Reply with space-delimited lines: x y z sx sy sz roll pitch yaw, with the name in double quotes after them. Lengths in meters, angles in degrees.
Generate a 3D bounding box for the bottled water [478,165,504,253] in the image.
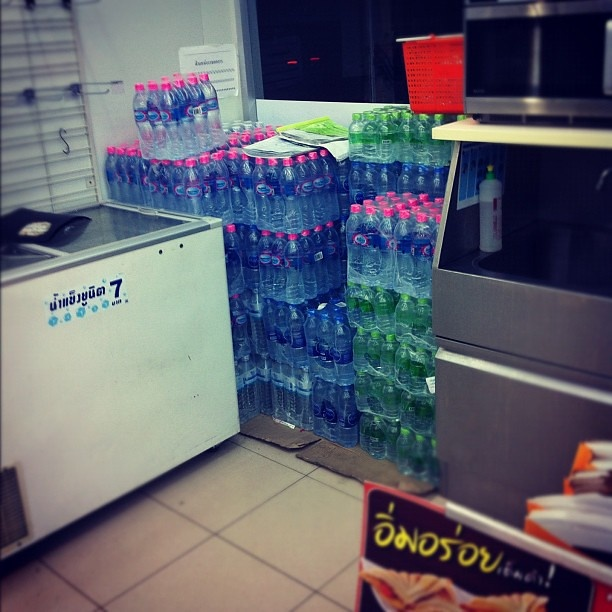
0.618 -0.320 1.863 0.078 0.277 0.092 -4 20 -2 "bottled water"
